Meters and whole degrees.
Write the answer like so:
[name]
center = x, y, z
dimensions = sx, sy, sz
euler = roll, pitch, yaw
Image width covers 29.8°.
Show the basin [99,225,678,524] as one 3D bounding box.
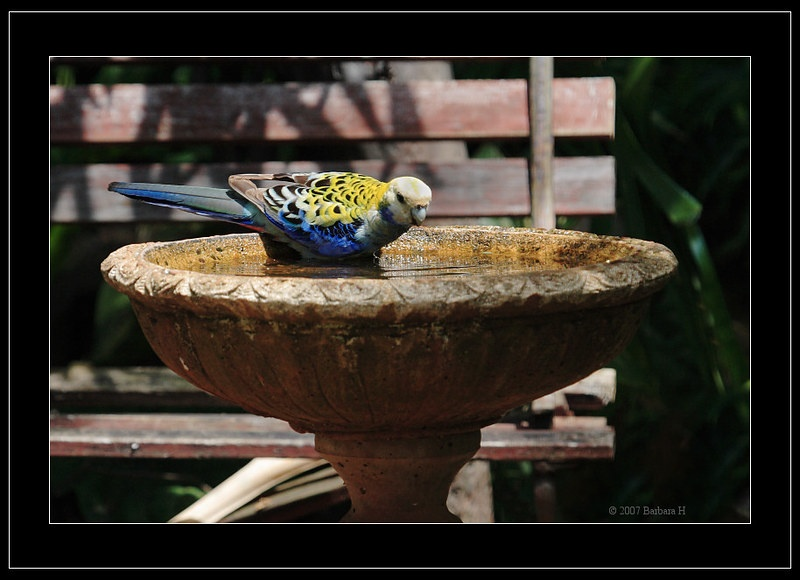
[basin]
center = -0.076, 0.277, 7.340
dimensions = 2.000, 0.905, 1.767
euler = 0, -3, -3
